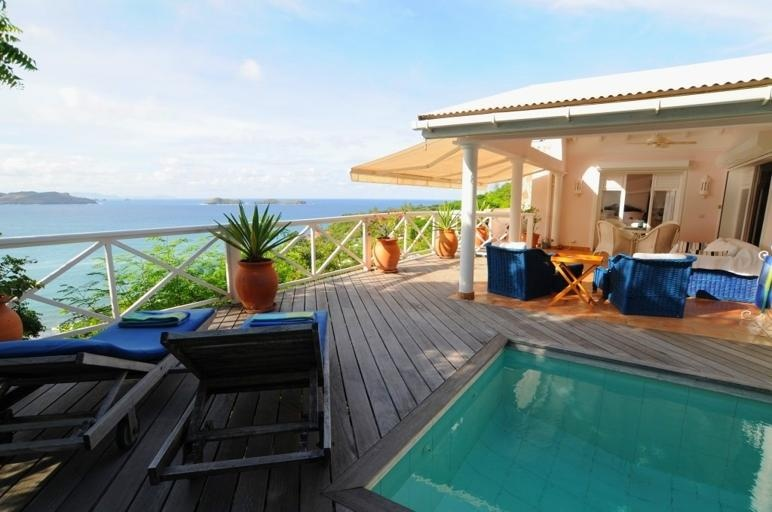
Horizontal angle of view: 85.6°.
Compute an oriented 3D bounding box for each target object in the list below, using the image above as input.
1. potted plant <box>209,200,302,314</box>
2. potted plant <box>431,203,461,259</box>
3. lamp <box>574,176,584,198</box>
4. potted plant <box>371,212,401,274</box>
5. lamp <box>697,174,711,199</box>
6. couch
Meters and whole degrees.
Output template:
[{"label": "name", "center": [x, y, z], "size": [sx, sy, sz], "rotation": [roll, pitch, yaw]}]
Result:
[{"label": "potted plant", "center": [-2.007, -0.108, 6.875], "size": [1.636, 1.550, 1.705], "rotation": [9, 15, 41]}, {"label": "potted plant", "center": [1.492, -0.630, 10.305], "size": [0.556, 1.309, 0.960], "rotation": [0, 11, 7]}, {"label": "lamp", "center": [5.562, -2.009, 12.076], "size": [0.230, 0.566, 0.116], "rotation": [2, 12, 13]}, {"label": "potted plant", "center": [-0.022, -0.273, 8.914], "size": [0.560, 1.147, 1.123], "rotation": [-1, 10, -2]}, {"label": "lamp", "center": [8.071, -1.758, 10.573], "size": [0.248, 0.533, 0.098], "rotation": [5, 13, 30]}, {"label": "couch", "center": [5.424, 0.261, 6.671], "size": [0.531, 1.103, 1.260], "rotation": [24, -9, -34]}]
